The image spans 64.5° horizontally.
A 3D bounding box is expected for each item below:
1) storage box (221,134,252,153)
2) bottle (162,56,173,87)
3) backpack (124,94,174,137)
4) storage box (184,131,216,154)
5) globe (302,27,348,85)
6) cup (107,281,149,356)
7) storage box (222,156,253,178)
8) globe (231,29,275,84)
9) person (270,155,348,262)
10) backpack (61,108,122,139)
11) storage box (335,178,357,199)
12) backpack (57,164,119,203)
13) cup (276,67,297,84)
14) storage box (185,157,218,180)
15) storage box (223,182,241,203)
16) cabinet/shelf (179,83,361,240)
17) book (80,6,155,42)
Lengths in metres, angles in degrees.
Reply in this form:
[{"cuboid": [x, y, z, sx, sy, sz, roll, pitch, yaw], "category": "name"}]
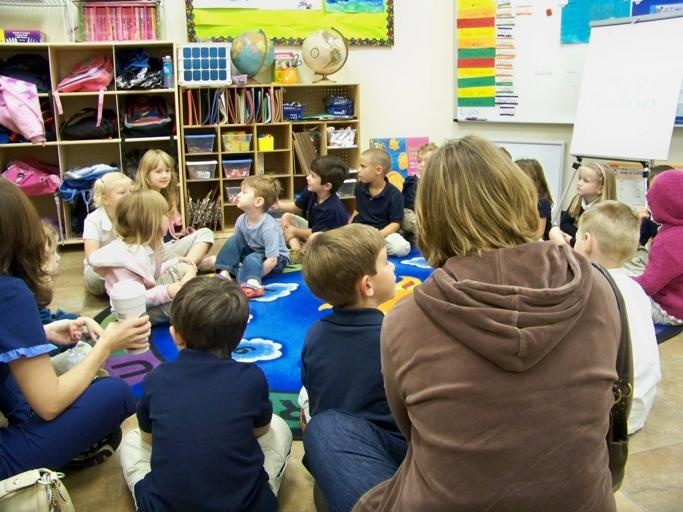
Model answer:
[{"cuboid": [-0.888, -0.966, 4.610, 0.145, 0.114, 0.215, 0, 9, -4], "category": "storage box"}, {"cuboid": [-1.398, -1.484, 4.363, 0.089, 0.244, 0.141, -4, 15, -17], "category": "bottle"}, {"cuboid": [-1.619, -1.151, 4.526, 0.479, 0.176, 0.488, -14, 44, -24], "category": "backpack"}, {"cuboid": [-1.183, -0.946, 4.498, 0.212, 0.121, 0.150, -4, 9, -12], "category": "storage box"}, {"cuboid": [-0.145, -1.832, 4.887, 0.409, 0.492, 0.394, -2, 26, -9], "category": "globe"}, {"cuboid": [-0.775, 0.226, 1.931, 0.140, 0.226, 0.144, -3, -11, -1], "category": "cup"}, {"cuboid": [-0.897, -0.768, 4.623, 0.225, 0.148, 0.159, -4, 12, -14], "category": "storage box"}, {"cuboid": [-0.783, -1.764, 4.695, 0.417, 0.445, 0.430, 7, 45, -5], "category": "globe"}, {"cuboid": [-0.274, -0.354, 3.965, 0.641, 0.768, 0.452, 5, 27, 5], "category": "person"}, {"cuboid": [-2.005, -1.016, 4.337, 0.375, 0.170, 0.283, -6, 24, -5], "category": "backpack"}, {"cuboid": [0.058, -0.632, 5.042, 0.234, 0.174, 0.164, -2, 10, -6], "category": "storage box"}, {"cuboid": [-1.918, -0.601, 4.219, 0.424, 0.196, 0.506, -6, 23, -5], "category": "backpack"}, {"cuboid": [-0.474, -1.561, 4.679, 0.163, 0.116, 0.128, -7, 14, -25], "category": "cup"}, {"cuboid": [-1.172, -0.738, 4.549, 0.228, 0.136, 0.156, -5, 8, -33], "category": "storage box"}, {"cuboid": [-0.942, -0.551, 4.676, 0.163, 0.170, 0.173, 1, 8, 7], "category": "storage box"}, {"cuboid": [-0.583, -0.806, 4.843, 1.547, 1.405, 0.431, -7, 13, -15], "category": "cabinet/shelf"}, {"cuboid": [-1.781, -1.835, 4.241, 0.301, 0.281, 0.042, 0, 17, -9], "category": "book"}]
